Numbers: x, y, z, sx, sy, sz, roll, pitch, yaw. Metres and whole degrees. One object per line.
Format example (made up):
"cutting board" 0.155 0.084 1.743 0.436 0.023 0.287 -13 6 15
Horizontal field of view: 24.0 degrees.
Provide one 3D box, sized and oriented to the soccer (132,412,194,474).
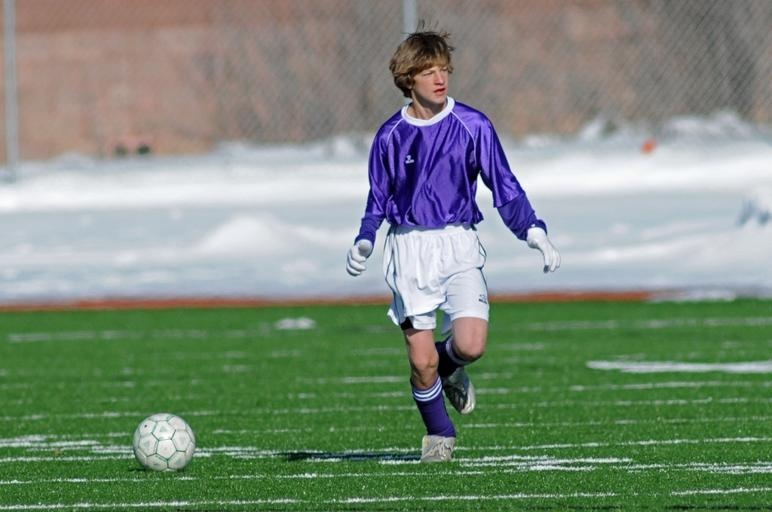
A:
"soccer" -1.970 1.653 16.017 0.521 0.479 0.475 -8 -6 -18
